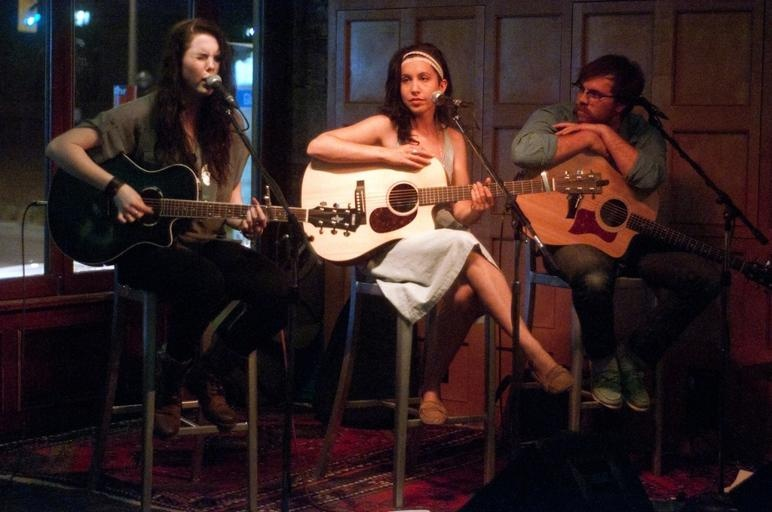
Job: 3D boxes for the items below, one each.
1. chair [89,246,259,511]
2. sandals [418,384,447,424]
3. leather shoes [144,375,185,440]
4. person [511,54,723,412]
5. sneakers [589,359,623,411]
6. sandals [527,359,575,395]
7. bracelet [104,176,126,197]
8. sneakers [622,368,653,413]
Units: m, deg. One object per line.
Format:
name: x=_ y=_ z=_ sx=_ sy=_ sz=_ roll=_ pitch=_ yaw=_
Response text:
chair: x=-1.164 y=0.612 z=4.419 sx=0.995 sy=1.792 sz=1.010 roll=-1 pitch=2 yaw=-19
sandals: x=0.242 y=0.800 z=3.991 sx=0.146 sy=0.177 sz=0.151 roll=-2 pitch=10 yaw=-14
leather shoes: x=-1.084 y=0.744 z=3.710 sx=0.110 sy=0.339 sz=0.128 roll=1 pitch=-14 yaw=-27
person: x=1.290 y=-0.160 z=4.404 sx=1.031 sy=2.102 sz=0.292 roll=-13 pitch=-3 yaw=2
sneakers: x=1.176 y=0.669 z=4.003 sx=0.114 sy=0.125 sz=0.325 roll=1 pitch=44 yaw=-1
sandals: x=0.825 y=0.605 z=3.812 sx=0.224 sy=0.140 sz=0.094 roll=26 pitch=4 yaw=39
bracelet: x=-1.297 y=-0.330 z=3.573 sx=0.091 sy=0.027 sz=0.093 roll=-43 pitch=10 yaw=0
sneakers: x=1.360 y=0.718 z=4.071 sx=0.141 sy=0.214 sz=0.097 roll=-3 pitch=10 yaw=-21
